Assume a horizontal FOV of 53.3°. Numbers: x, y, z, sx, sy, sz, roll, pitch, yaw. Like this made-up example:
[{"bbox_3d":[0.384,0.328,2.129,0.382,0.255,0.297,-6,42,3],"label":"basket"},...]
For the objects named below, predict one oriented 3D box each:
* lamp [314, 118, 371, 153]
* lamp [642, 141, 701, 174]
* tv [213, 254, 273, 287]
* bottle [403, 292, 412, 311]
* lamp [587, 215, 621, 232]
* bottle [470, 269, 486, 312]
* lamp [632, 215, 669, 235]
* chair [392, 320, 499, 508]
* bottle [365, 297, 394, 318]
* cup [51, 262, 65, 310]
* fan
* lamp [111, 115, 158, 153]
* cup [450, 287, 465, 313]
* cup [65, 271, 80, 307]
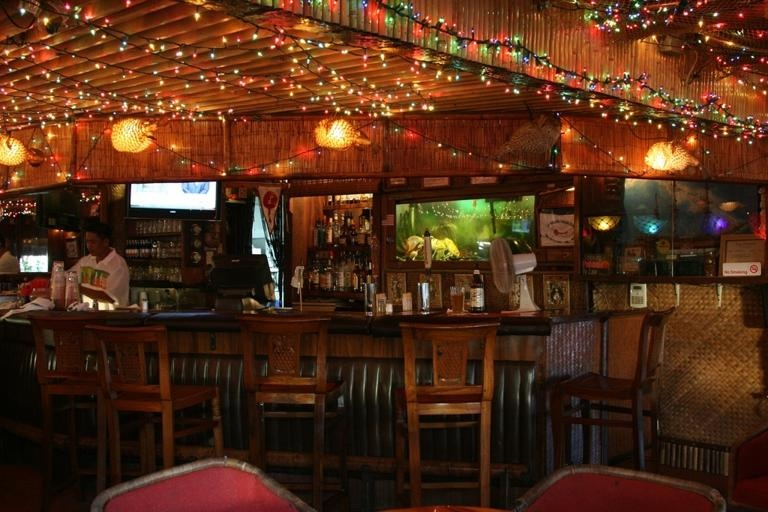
[{"bbox_3d":[-0.503,-1.376,8.829,0.455,0.246,0.380,3,-1,-36],"label":"lamp"},{"bbox_3d":[3.253,-1.103,8.697,0.395,0.168,0.396,5,0,0],"label":"lamp"},{"bbox_3d":[-1.491,0.166,7.923,0.482,0.323,0.335,1,4,0],"label":"tv"},{"bbox_3d":[0.233,0.467,7.710,0.093,0.174,0.239,1,0,-3],"label":"bottle"},{"bbox_3d":[2.552,-0.376,8.908,0.371,0.162,0.072,1,0,-14],"label":"lamp"},{"bbox_3d":[0.906,0.340,7.484,0.117,0.361,0.116,1,0,0],"label":"bottle"},{"bbox_3d":[3.078,-0.352,8.878,0.370,0.193,0.086,1,0,19],"label":"lamp"},{"bbox_3d":[0.525,1.339,6.643,0.850,1.415,0.924,1,0,5],"label":"chair"},{"bbox_3d":[-0.040,0.508,7.493,0.273,0.197,0.162,1,-6,-20],"label":"bottle"},{"bbox_3d":[-3.418,0.300,8.015,0.138,0.510,0.208,1,0,-23],"label":"cup"},{"bbox_3d":[1.424,0.205,8.350,0.484,0.662,1.963,1,0,10],"label":"fan"},{"bbox_3d":[-2.924,-1.403,8.928,0.479,0.398,0.279,4,-4,3],"label":"lamp"},{"bbox_3d":[0.721,0.426,7.556,0.124,0.224,0.334,1,0,2],"label":"cup"},{"bbox_3d":[-3.308,0.354,8.093,0.127,0.405,0.268,1,0,-23],"label":"cup"}]
